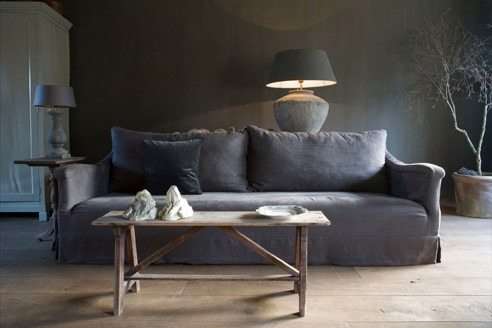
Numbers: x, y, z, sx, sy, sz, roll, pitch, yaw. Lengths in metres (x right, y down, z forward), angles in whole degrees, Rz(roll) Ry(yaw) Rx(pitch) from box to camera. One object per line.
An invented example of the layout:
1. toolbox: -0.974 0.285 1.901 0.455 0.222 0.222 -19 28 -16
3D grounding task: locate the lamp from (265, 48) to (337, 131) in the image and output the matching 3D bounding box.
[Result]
1. lamp: 0.686 -0.909 5.881 1.126 1.299 1.095 0 -6 5

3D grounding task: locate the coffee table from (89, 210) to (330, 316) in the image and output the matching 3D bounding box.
1. coffee table: -0.290 0.850 3.885 1.921 0.774 0.583 0 6 0

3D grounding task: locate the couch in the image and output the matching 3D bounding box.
1. couch: 0.038 0.307 4.790 3.838 1.281 1.249 0 8 1

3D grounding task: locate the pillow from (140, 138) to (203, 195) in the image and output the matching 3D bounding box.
1. pillow: -0.767 0.051 4.581 0.595 0.515 0.212 -1 -14 -2
